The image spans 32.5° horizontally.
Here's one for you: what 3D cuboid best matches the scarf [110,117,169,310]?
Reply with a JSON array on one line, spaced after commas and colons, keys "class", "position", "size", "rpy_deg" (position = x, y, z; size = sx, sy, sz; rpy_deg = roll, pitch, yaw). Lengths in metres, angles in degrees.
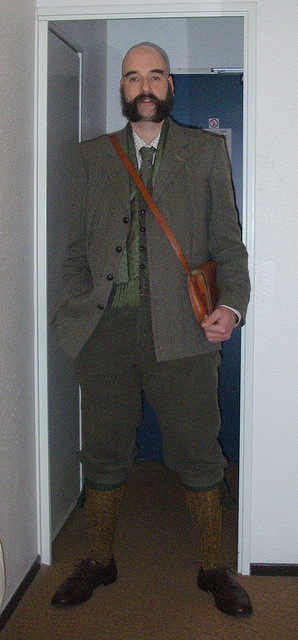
[{"class": "scarf", "position": [-0.026, -0.296, 1.411], "size": [0.132, 0.527, 0.125], "rpy_deg": [2, 4, 18]}]
